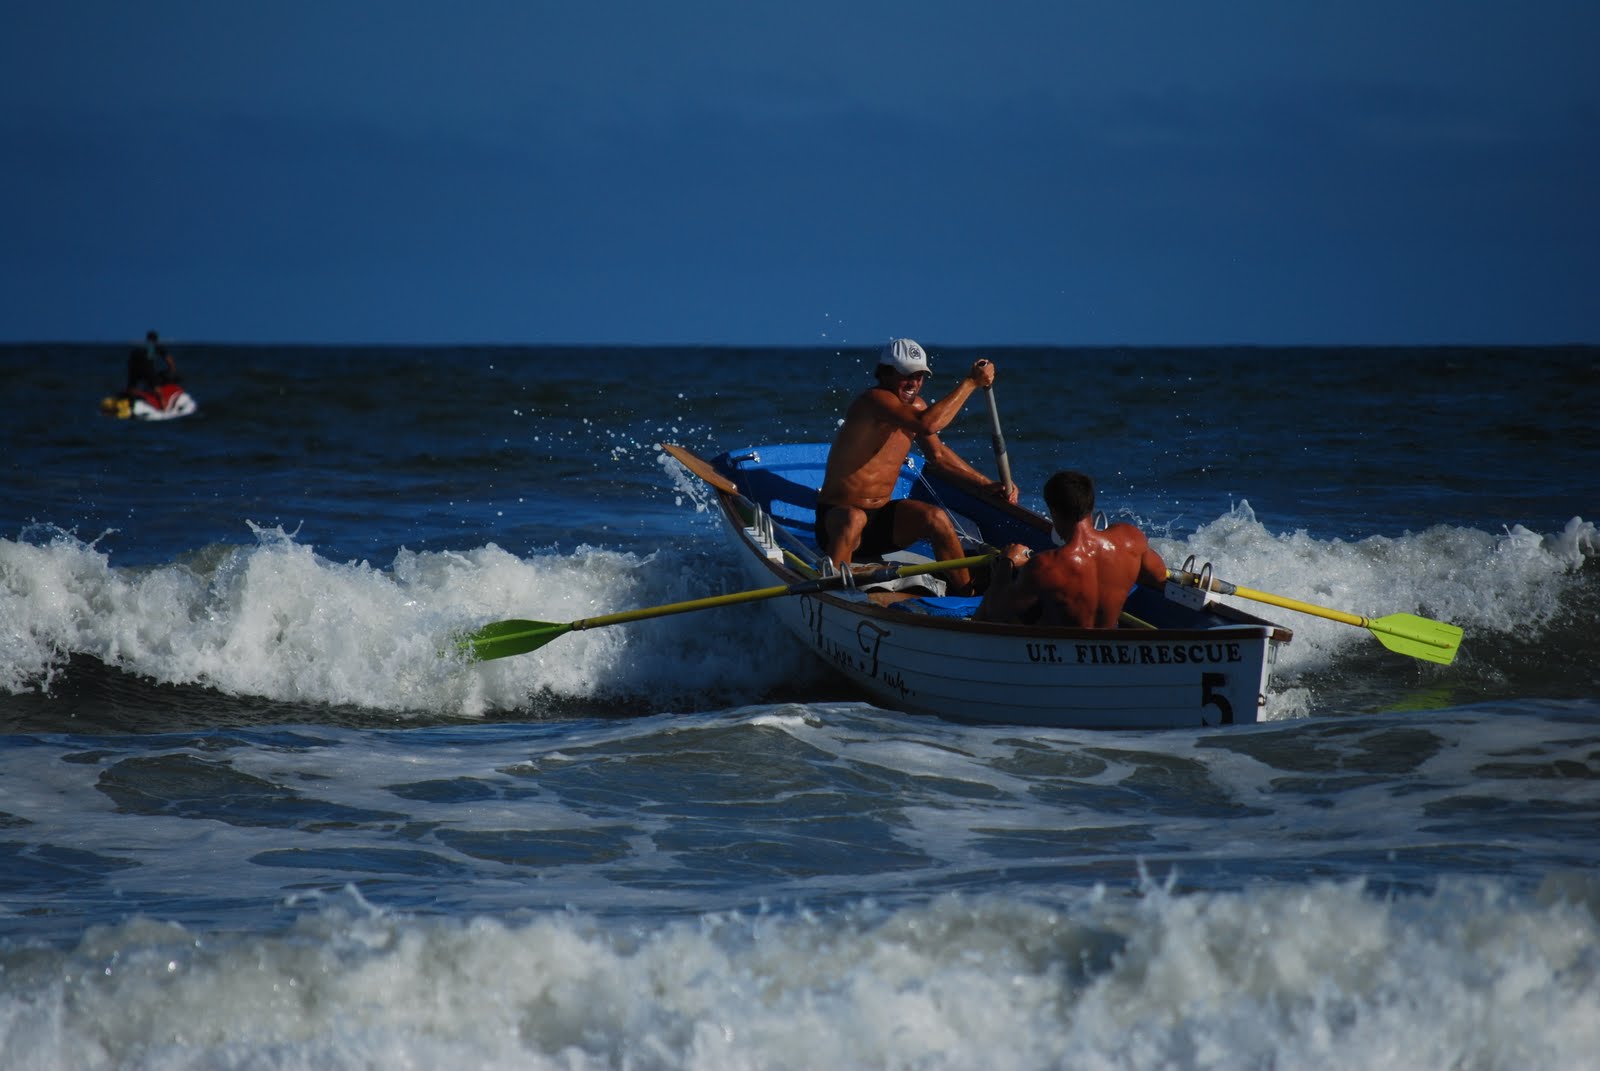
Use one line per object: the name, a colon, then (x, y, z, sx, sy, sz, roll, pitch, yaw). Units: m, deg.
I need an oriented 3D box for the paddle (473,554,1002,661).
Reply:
paddle: (-0.472, 0.637, 19.968, 3.285, 0.225, 0.439, -8, -8, 8)

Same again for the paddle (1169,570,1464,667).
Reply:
paddle: (4.261, 0.720, 19.831, 2.980, 0.398, 0.228, 11, -6, -8)

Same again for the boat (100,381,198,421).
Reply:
boat: (-8.746, -1.790, 33.133, 0.576, 0.333, 1.068, 8, 8, 43)

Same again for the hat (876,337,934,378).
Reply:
hat: (0.852, -1.406, 19.602, 0.392, 0.264, 0.536, 1, 2, 0)

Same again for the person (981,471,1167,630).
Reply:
person: (2.058, 0.131, 18.259, 1.328, 1.162, 0.631, 1, 3, 4)
